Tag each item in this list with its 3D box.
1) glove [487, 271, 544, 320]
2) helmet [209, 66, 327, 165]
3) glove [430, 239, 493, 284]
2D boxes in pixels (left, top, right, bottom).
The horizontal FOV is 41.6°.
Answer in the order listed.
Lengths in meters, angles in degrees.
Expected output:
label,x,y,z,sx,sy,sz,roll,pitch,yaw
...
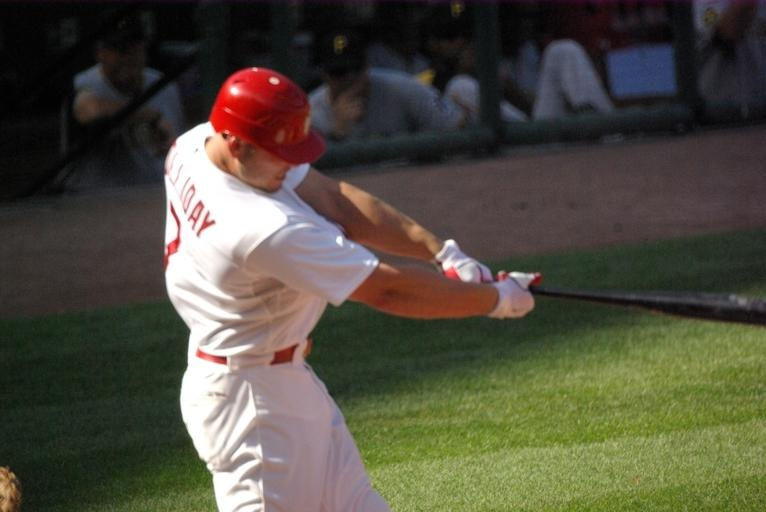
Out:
label,x,y,z,sx,sy,sz,roll,pitch,yaw
glove,0.620,0.203,4.652,0.244,0.089,0.219,-3,40,11
helmet,-0.509,-0.589,4.375,0.503,0.244,0.337,26,36,2
glove,0.363,0.052,4.739,0.267,0.163,0.103,33,-17,6
